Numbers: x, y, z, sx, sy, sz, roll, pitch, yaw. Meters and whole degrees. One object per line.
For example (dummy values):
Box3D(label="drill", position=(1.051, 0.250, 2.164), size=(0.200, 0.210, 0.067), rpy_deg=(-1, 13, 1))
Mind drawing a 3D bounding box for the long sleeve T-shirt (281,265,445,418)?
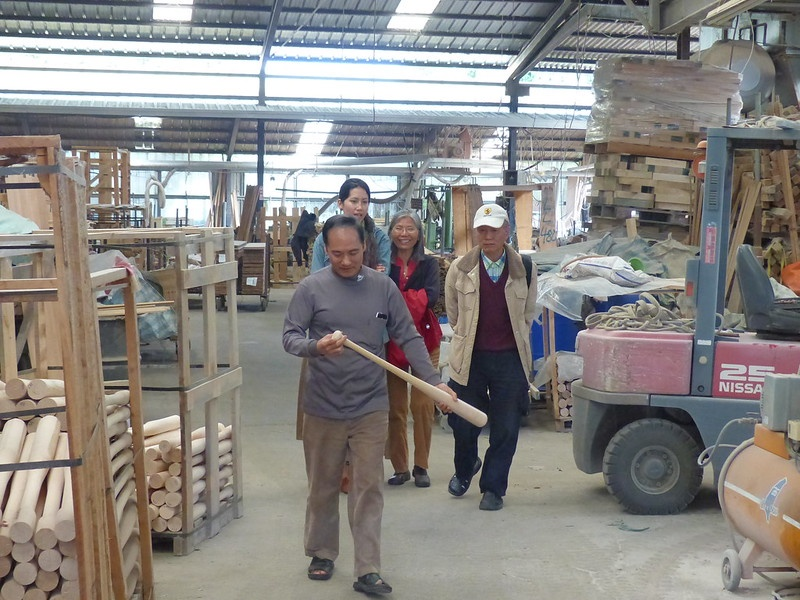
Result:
Box3D(label="long sleeve T-shirt", position=(-0.233, 0.245, 4.530), size=(0.985, 0.975, 0.533), rpy_deg=(-1, 9, -20))

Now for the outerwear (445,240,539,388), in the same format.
Box3D(label="outerwear", position=(0.555, 0.134, 6.040), size=(0.995, 1.472, 0.942), rpy_deg=(0, -1, -1))

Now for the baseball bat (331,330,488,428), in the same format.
Box3D(label="baseball bat", position=(0.067, 0.539, 4.960), size=(1.332, 0.142, 0.179), rpy_deg=(32, -7, 6))

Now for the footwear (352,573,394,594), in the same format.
Box3D(label="footwear", position=(-0.164, 1.692, 4.318), size=(0.257, 0.124, 0.110), rpy_deg=(-4, -6, 39))

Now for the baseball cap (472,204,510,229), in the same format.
Box3D(label="baseball cap", position=(0.713, -0.657, 5.672), size=(0.241, 0.189, 0.332), rpy_deg=(1, 7, 9))

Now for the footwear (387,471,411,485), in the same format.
Box3D(label="footwear", position=(-0.004, 1.531, 6.268), size=(0.084, 0.085, 0.205), rpy_deg=(-1, -1, 42))

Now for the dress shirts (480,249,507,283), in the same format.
Box3D(label="dress shirts", position=(0.744, -0.265, 5.640), size=(0.165, 0.245, 0.085), rpy_deg=(-1, -2, 0))

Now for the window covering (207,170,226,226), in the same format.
Box3D(label="window covering", position=(-6.250, -3.519, 24.886), size=(0.616, 1.831, 1.842), rpy_deg=(-2, 7, -14))

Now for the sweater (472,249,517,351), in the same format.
Box3D(label="sweater", position=(0.748, 0.057, 5.637), size=(0.313, 0.657, 0.151), rpy_deg=(1, 7, 11))

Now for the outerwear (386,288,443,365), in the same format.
Box3D(label="outerwear", position=(0.145, 0.197, 6.108), size=(0.528, 0.585, 0.243), rpy_deg=(-12, 9, 3))

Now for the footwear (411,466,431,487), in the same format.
Box3D(label="footwear", position=(0.194, 1.515, 6.139), size=(0.080, 0.106, 0.243), rpy_deg=(0, -5, -10))

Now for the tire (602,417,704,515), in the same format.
Box3D(label="tire", position=(1.928, 1.274, 5.523), size=(0.669, 0.707, 0.217), rpy_deg=(4, 1, 1))

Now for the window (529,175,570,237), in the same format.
Box3D(label="window", position=(2.910, -1.749, 14.214), size=(0.596, 1.103, 0.109), rpy_deg=(-2, 5, -11))

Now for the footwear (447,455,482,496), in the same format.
Box3D(label="footwear", position=(0.501, 1.511, 5.988), size=(0.164, 0.463, 0.124), rpy_deg=(35, 21, 29))

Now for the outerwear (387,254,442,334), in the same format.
Box3D(label="outerwear", position=(0.225, -0.084, 6.309), size=(0.535, 0.622, 0.259), rpy_deg=(-2, 2, 17))
